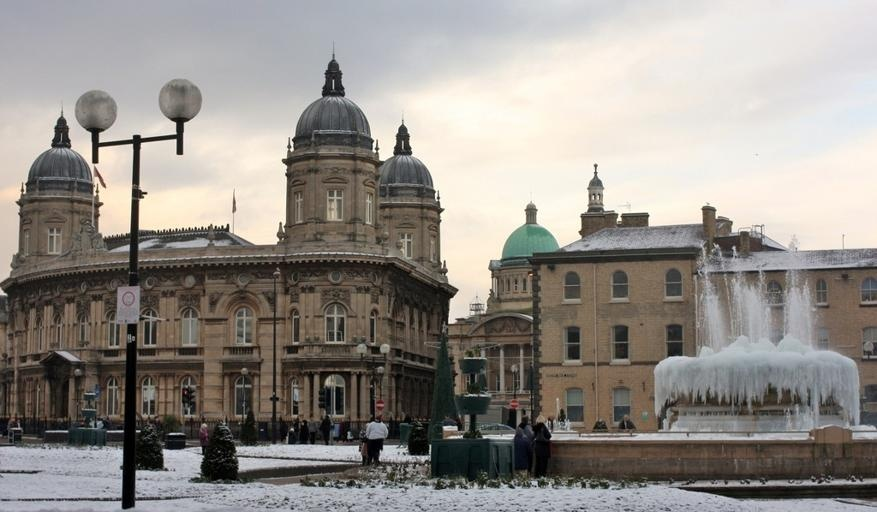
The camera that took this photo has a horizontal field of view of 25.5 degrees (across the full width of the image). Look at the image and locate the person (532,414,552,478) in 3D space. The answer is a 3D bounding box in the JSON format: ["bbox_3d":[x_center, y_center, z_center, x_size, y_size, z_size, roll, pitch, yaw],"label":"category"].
[{"bbox_3d":[5.499,10.298,104.350,0.998,3.152,1.187,-4,-12,2],"label":"person"}]

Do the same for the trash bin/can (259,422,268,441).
[{"bbox_3d":[-13.087,12.935,143.248,0.755,1.517,2.793,-2,-12,-7],"label":"trash bin/can"}]
